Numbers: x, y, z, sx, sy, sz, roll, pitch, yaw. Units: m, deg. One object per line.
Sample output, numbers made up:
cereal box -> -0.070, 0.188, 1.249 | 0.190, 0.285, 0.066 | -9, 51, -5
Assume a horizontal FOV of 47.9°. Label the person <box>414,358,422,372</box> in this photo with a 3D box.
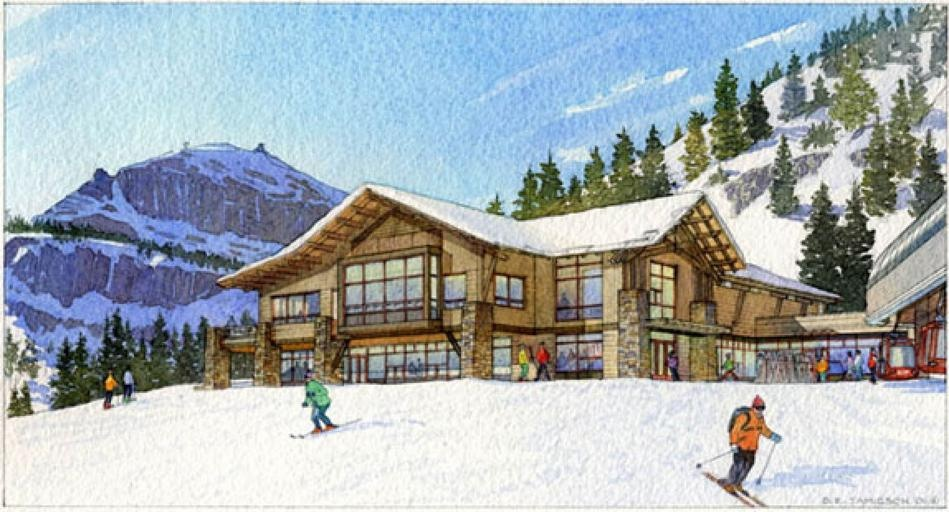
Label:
person -> -5.941, 11.293, 111.016 | 0.658, 1.448, 0.207 | -4, -12, 5
